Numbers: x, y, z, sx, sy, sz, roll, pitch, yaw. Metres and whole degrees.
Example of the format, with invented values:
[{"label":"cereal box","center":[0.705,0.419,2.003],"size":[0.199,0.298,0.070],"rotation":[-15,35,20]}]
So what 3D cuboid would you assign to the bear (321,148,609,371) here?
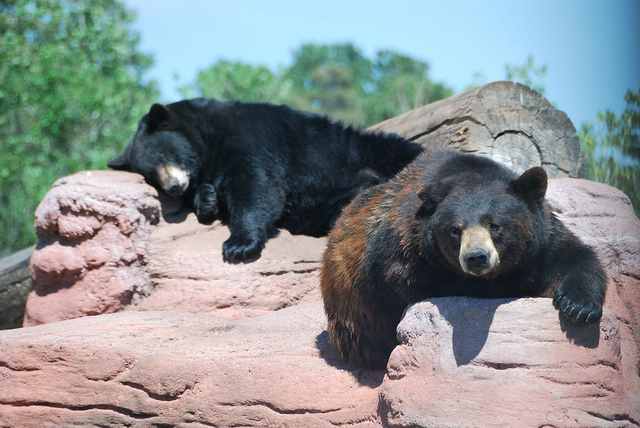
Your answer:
[{"label":"bear","center":[1.317,0.522,7.758],"size":[2.843,2.372,1.043],"rotation":[3,3,30]}]

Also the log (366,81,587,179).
[{"label":"log","center":[2.174,-1.258,10.392],"size":[1.982,1.653,3.621],"rotation":[-5,16,-13]}]
